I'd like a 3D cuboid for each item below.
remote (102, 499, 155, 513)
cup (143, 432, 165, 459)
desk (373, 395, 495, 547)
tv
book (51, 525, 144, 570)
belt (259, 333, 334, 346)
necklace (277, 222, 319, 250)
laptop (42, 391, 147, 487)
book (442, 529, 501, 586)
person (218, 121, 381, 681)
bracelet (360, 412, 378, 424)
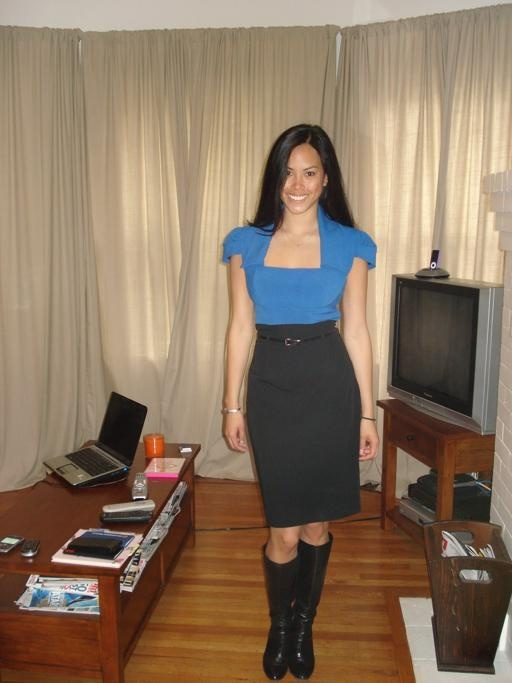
[{"bbox_3d":[-0.359,0.472,1.596,0.169,0.043,0.049,8,-6,-29],"label":"remote"},{"bbox_3d":[-0.384,0.394,2.155,0.081,0.092,0.081,1,13,0],"label":"cup"},{"bbox_3d":[0.691,0.556,2.270,0.207,0.551,0.553,-1,6,-15],"label":"desk"},{"bbox_3d":[0.723,0.056,2.138,0.322,0.541,0.630,0,8,-14],"label":"tv"},{"bbox_3d":[-0.399,0.505,1.380,0.116,0.018,0.130,2,15,9],"label":"book"},{"bbox_3d":[0.087,-0.004,1.381,0.167,0.028,0.043,1,6,4],"label":"belt"},{"bbox_3d":[0.107,-0.265,1.412,0.076,0.076,0.031,5,-16,2],"label":"necklace"},{"bbox_3d":[-0.514,0.370,2.013,0.264,0.318,0.356,16,0,-34],"label":"laptop"},{"bbox_3d":[0.566,0.574,1.504,0.093,0.128,0.046,-6,-7,-1],"label":"book"},{"bbox_3d":[0.121,0.183,1.485,0.422,1.468,0.245,0,6,-4],"label":"person"},{"bbox_3d":[0.291,0.202,1.469,0.034,0.011,0.028,7,17,40],"label":"bracelet"}]
